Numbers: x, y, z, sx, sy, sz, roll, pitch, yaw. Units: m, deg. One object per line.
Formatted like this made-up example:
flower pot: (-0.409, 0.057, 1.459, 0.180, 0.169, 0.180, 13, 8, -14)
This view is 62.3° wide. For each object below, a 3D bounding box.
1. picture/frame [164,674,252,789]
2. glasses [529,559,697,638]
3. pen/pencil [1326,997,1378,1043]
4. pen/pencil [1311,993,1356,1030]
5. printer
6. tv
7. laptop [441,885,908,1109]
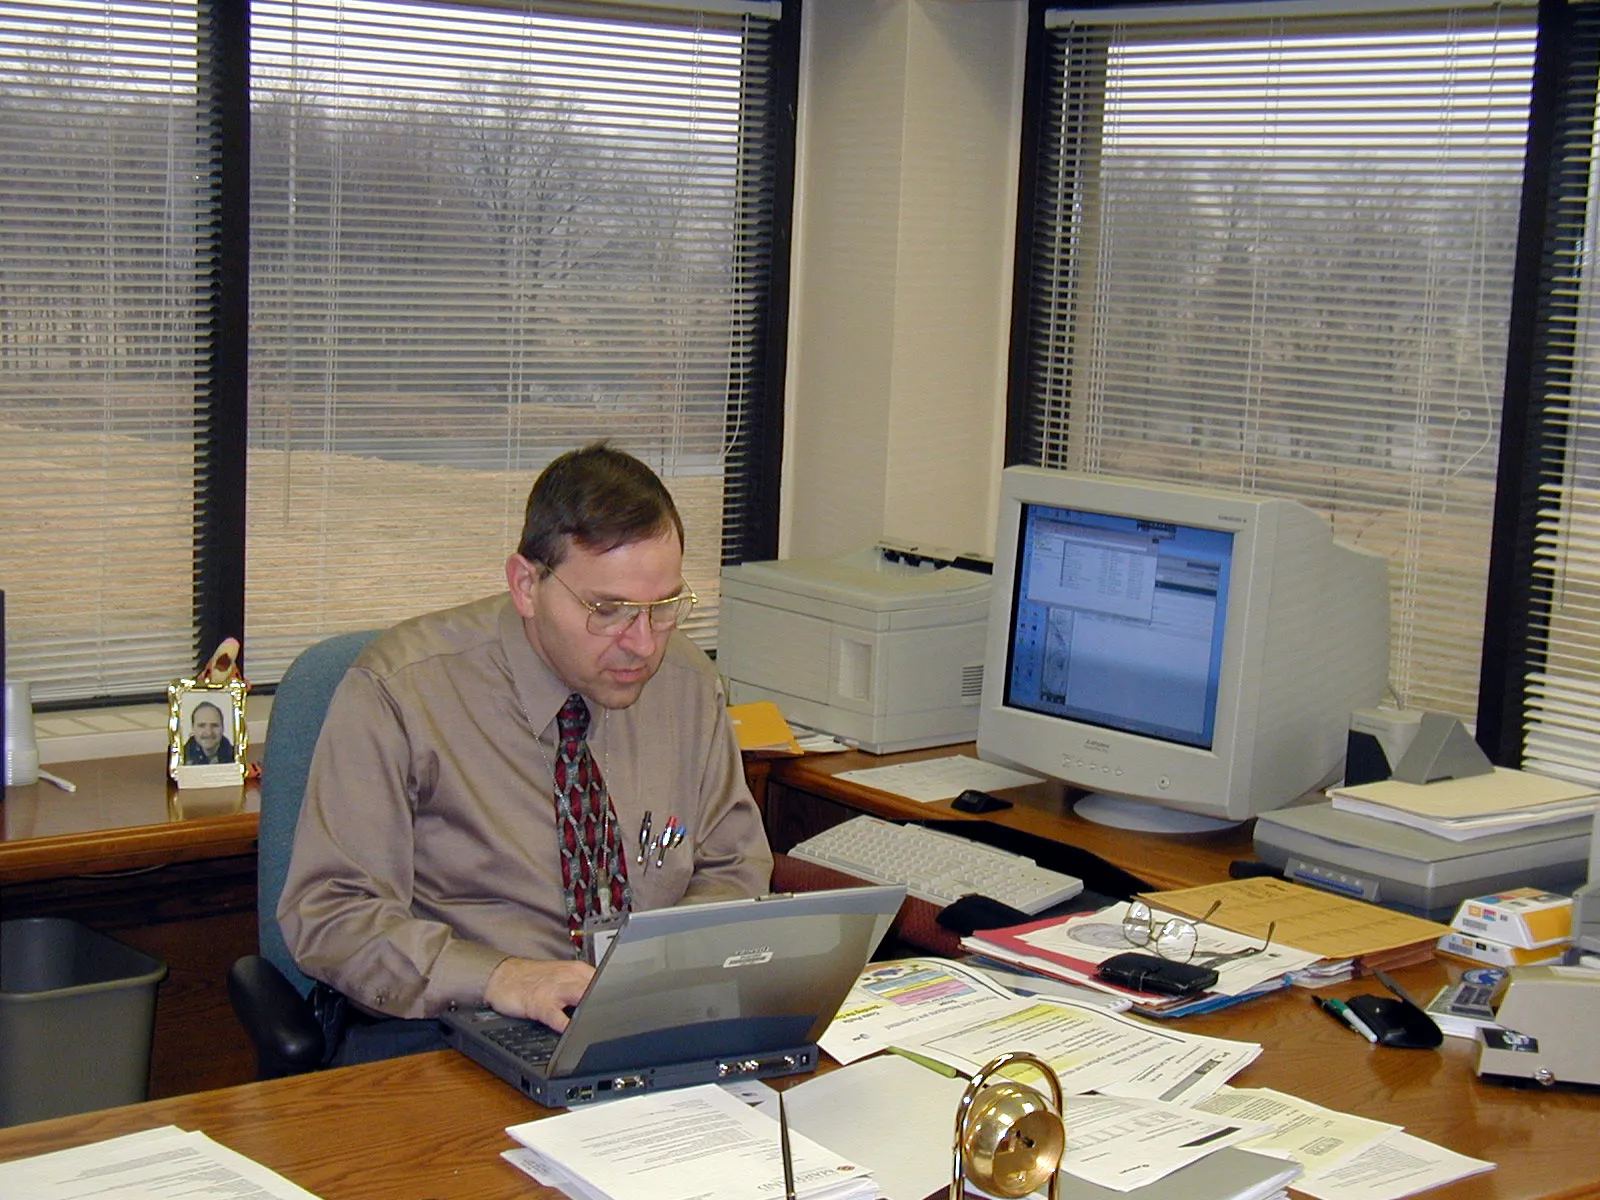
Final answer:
picture/frame: (-1.265, 0.284, 2.796, 0.256, 0.304, 0.036, 0, -2, -27)
glasses: (-0.306, -0.012, 2.021, 0.197, 0.072, 0.235, -3, 23, -37)
pen/pencil: (0.739, 0.567, 1.781, 0.015, 0.016, 0.059, -44, 32, -3)
pen/pencil: (0.726, 0.562, 1.809, 0.017, 0.018, 0.061, -41, 31, -15)
printer: (0.143, 0.097, 3.264, 0.483, 0.349, 0.638, -6, 13, -42)
tv: (0.871, 0.103, 2.841, 0.710, 0.664, 0.708, -4, 9, -31)
laptop: (-0.180, 0.450, 1.615, 0.366, 0.255, 0.486, 3, -3, -37)
